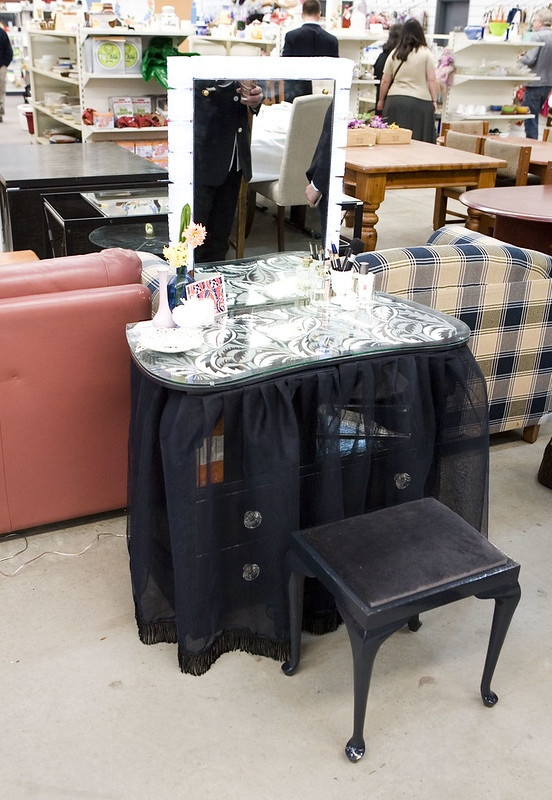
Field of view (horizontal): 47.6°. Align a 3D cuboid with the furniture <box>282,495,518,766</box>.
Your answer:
[{"bbox_3d":[0.267,0.456,1.380,0.406,0.366,0.332,-8,21,-26],"label":"furniture"}]

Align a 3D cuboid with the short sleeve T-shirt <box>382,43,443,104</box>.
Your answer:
[{"bbox_3d":[1.257,-3.094,5.877,0.493,0.479,0.261,13,42,20],"label":"short sleeve T-shirt"}]

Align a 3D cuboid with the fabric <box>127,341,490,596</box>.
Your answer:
[{"bbox_3d":[0.112,0.179,1.777,1.015,0.699,0.551,-5,20,-17],"label":"fabric"}]

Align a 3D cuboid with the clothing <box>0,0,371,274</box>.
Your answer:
[{"bbox_3d":[-0.052,-0.703,1.784,0.692,0.511,0.204,-18,31,-38],"label":"clothing"}]
